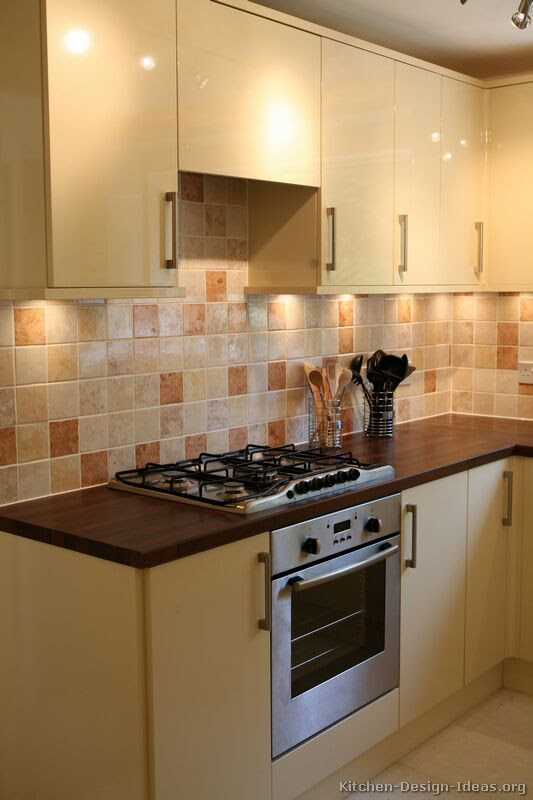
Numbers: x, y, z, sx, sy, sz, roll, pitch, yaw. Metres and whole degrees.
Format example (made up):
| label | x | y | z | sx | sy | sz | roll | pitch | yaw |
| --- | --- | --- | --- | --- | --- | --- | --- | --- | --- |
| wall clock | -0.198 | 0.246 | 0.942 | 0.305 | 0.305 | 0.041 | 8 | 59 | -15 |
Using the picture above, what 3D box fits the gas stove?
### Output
| label | x | y | z | sx | sy | sz | roll | pitch | yaw |
| --- | --- | --- | --- | --- | --- | --- | --- | --- | --- |
| gas stove | -0.028 | 0.203 | 1.811 | 0.578 | 0.075 | 0.710 | 9 | 10 | 43 |
